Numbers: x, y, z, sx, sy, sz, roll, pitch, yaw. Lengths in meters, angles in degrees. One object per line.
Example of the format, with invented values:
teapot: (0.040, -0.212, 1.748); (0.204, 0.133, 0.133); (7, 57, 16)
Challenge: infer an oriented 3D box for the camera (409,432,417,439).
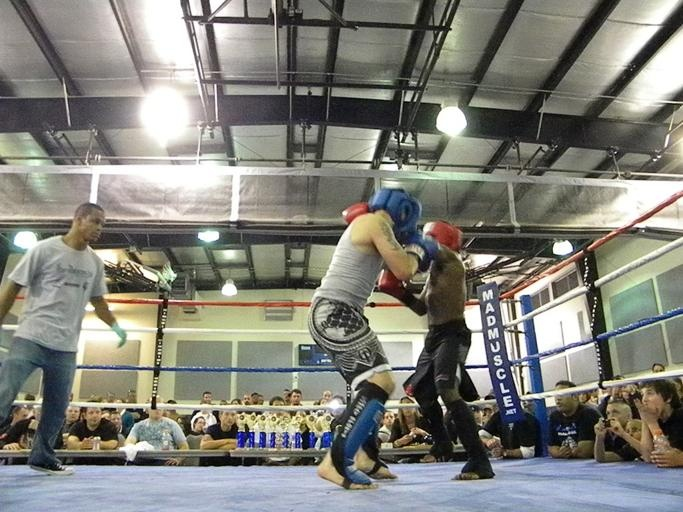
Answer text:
camera: (0.738, 1.839, 4.969); (0.088, 0.027, 0.058); (-6, -37, 42)

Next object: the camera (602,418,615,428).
camera: (1.802, 1.132, 3.286); (0.071, 0.047, 0.064); (6, -11, -20)

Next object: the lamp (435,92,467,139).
lamp: (1.307, -1.716, 5.785); (0.294, 0.480, 0.370); (-11, -26, 23)

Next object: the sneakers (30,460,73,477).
sneakers: (-1.754, 1.284, 2.926); (0.238, 0.067, 0.255); (11, -22, -27)

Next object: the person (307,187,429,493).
person: (0.106, 0.351, 2.490); (0.551, 1.542, 0.725); (5, -25, -8)
